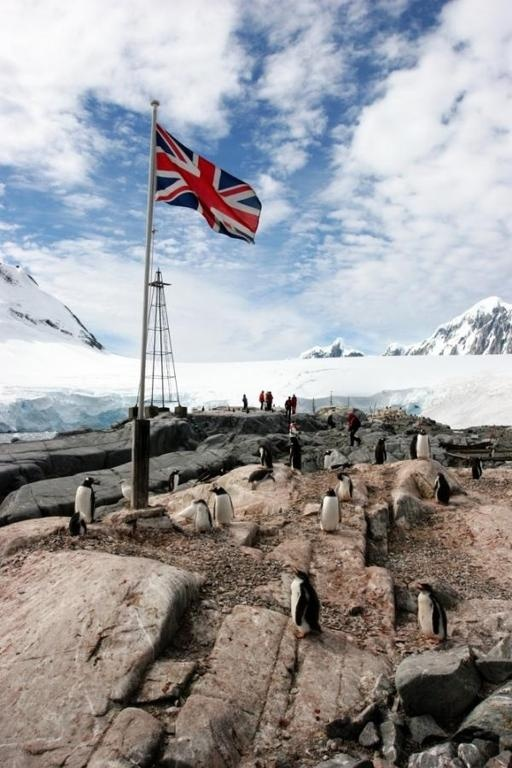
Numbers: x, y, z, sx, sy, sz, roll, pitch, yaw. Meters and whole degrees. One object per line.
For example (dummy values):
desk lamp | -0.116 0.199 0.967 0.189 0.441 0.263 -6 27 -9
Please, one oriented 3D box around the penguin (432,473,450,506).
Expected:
penguin | 3.945 2.280 9.461 0.300 0.834 0.228 -4 -14 43

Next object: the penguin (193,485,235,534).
penguin | -0.815 2.355 7.976 0.782 1.034 0.862 -2 8 -1

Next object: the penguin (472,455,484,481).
penguin | 5.798 2.210 11.725 0.269 0.589 1.033 9 2 28

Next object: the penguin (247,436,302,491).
penguin | 0.281 2.219 12.042 1.198 1.631 1.213 4 6 41

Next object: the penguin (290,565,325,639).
penguin | 0.540 2.482 5.055 0.369 0.593 0.484 0 1 3

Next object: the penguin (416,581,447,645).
penguin | 2.063 2.722 5.317 0.361 0.631 0.294 14 -18 -35

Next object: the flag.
flag | -0.975 -3.818 8.696 2.102 1.828 0.252 8 1 -22
